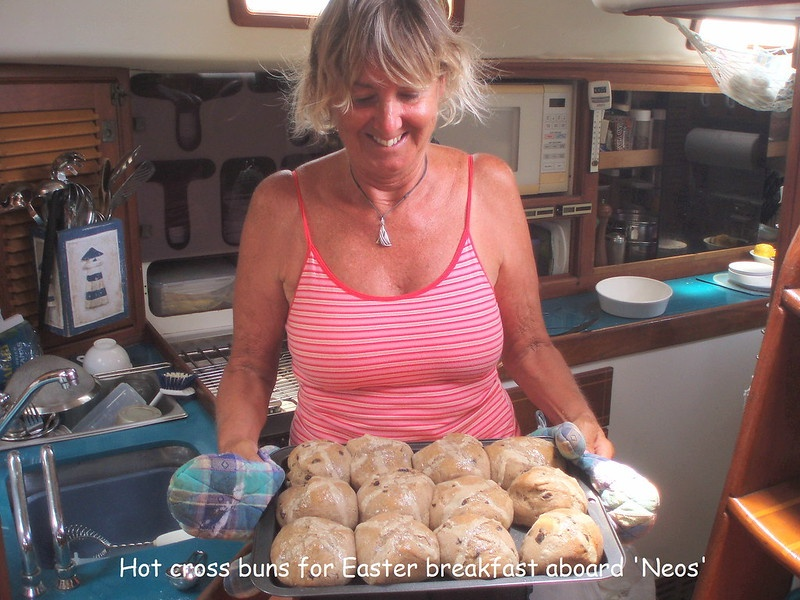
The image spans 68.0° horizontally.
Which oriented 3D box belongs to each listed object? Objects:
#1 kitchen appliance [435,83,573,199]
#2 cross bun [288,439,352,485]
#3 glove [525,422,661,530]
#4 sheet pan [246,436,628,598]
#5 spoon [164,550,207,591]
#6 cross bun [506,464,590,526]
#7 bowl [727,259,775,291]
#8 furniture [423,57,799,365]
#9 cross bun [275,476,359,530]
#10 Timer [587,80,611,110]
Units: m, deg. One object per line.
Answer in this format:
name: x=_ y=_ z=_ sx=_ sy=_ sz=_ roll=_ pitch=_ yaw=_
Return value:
kitchen appliance: x=0.426 y=-0.687 z=2.471 sx=0.667 sy=0.486 sz=0.392 roll=-5 pitch=26 yaw=-10
cross bun: x=-0.139 y=0.264 z=0.980 sx=0.072 sy=0.044 sz=0.074 roll=3 pitch=1 yaw=5
glove: x=0.316 y=0.294 z=1.024 sx=0.109 sy=0.088 sz=0.218 roll=-13 pitch=41 yaw=-41
sheet pan: x=0.029 y=0.297 z=0.785 sx=0.325 sy=0.046 sz=0.239 roll=-2 pitch=19 yaw=-3
spoon: x=-0.396 y=0.499 z=1.097 sx=0.073 sy=0.046 sz=0.060 roll=-3 pitch=14 yaw=5
cross bun: x=0.222 y=0.294 z=0.909 sx=0.097 sy=0.031 sz=0.090 roll=-1 pitch=34 yaw=3
bowl: x=1.508 y=-0.103 z=2.541 sx=0.161 sy=0.070 sz=0.150 roll=-5 pitch=21 yaw=2
furniture: x=0.732 y=-0.331 z=2.045 sx=1.035 sy=0.898 sz=0.377 roll=-8 pitch=22 yaw=-14
cross bun: x=-0.128 y=0.308 z=0.911 sx=0.085 sy=0.045 sz=0.086 roll=15 pitch=14 yaw=40
Timer: x=0.775 y=-0.801 z=2.308 sx=0.096 sy=0.135 sz=0.067 roll=-2 pitch=10 yaw=7
